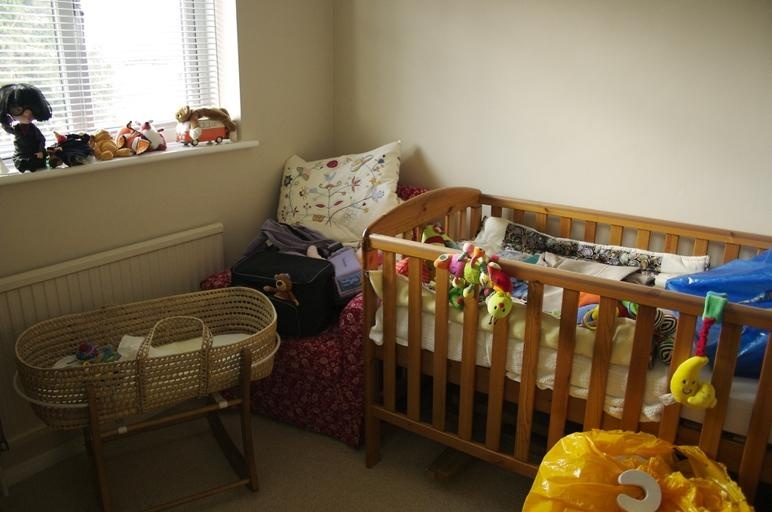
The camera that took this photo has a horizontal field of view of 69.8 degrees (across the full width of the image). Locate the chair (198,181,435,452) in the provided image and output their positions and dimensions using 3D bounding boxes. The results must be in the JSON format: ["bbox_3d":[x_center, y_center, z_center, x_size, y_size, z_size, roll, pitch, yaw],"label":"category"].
[{"bbox_3d":[-0.336,0.375,2.914,0.752,0.726,0.766,8,23,23],"label":"chair"}]

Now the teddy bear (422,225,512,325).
[{"bbox_3d":[0.338,0.075,2.242,0.240,0.203,0.380,-22,31,-16],"label":"teddy bear"}]

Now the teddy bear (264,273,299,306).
[{"bbox_3d":[-0.482,0.145,2.610,0.179,0.136,0.088,13,15,14],"label":"teddy bear"}]

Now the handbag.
[{"bbox_3d":[-0.480,0.215,2.674,0.527,0.366,0.392,14,24,27],"label":"handbag"}]
